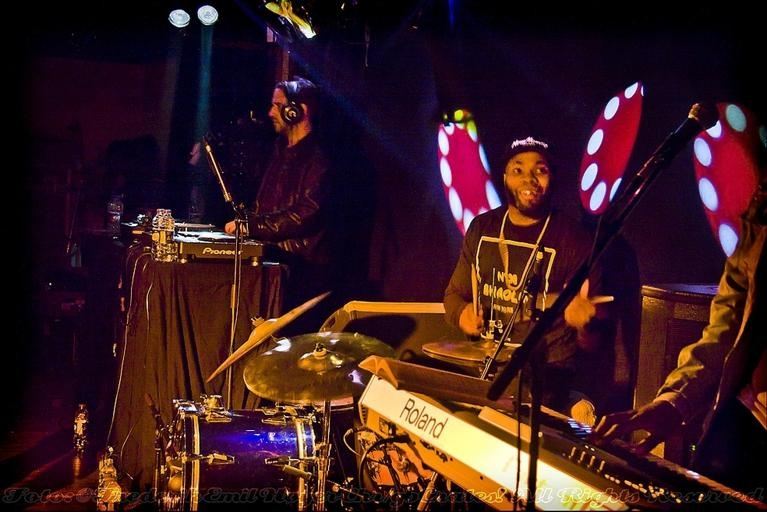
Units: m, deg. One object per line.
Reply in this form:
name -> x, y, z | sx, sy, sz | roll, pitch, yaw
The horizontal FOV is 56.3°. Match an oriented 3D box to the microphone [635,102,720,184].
microphone -> 1.457, -0.597, 3.544 | 0.474, 0.117, 0.123 | -36, 62, -22

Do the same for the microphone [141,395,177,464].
microphone -> -1.392, 1.147, 4.589 | 0.140, 0.252, 0.370 | -7, 33, -25

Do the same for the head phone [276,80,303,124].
head phone -> -0.772, -1.273, 6.013 | 0.179, 0.404, 0.343 | 1, -4, -8

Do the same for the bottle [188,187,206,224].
bottle -> -1.772, -0.495, 6.827 | 0.155, 0.337, 0.488 | 4, 3, -15

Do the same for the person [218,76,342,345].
person -> -0.891, -0.152, 6.419 | 0.993, 3.026, 0.952 | -9, 41, -16

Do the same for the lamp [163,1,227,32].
lamp -> -1.756, -2.220, 6.731 | 0.439, 0.199, 0.459 | 5, 3, -5

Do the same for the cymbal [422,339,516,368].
cymbal -> 0.541, 0.598, 4.422 | 0.315, 0.093, 0.323 | -4, -3, 44

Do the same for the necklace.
necklace -> 0.935, -0.045, 4.991 | 0.308, 0.553, 0.135 | 15, 5, 8
